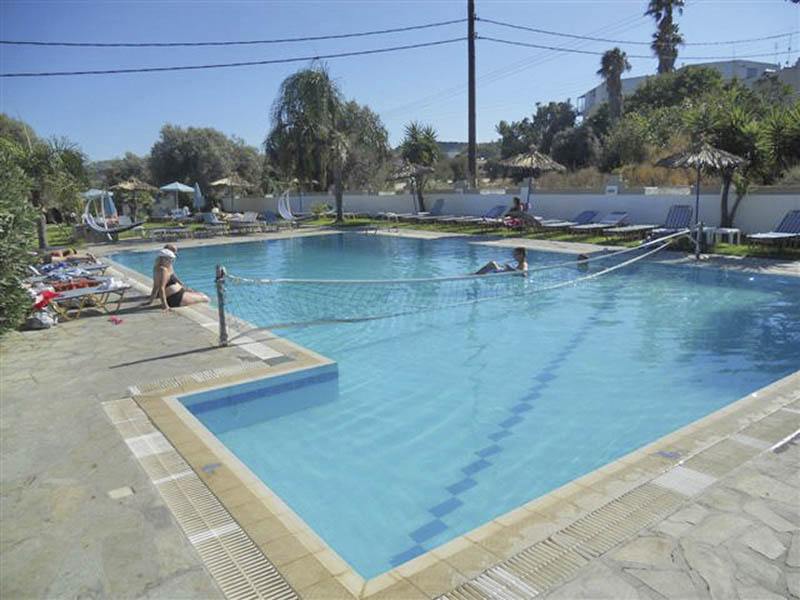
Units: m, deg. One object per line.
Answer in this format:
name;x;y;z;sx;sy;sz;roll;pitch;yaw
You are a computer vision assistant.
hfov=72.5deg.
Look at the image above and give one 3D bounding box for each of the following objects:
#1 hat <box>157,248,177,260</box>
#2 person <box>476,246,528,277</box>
hat;-5.098;-1.016;11.936;0.317;0.386;0.392;-2;-4;-35
person;2.611;-0.841;13.284;1.734;0.915;0.876;0;5;20
